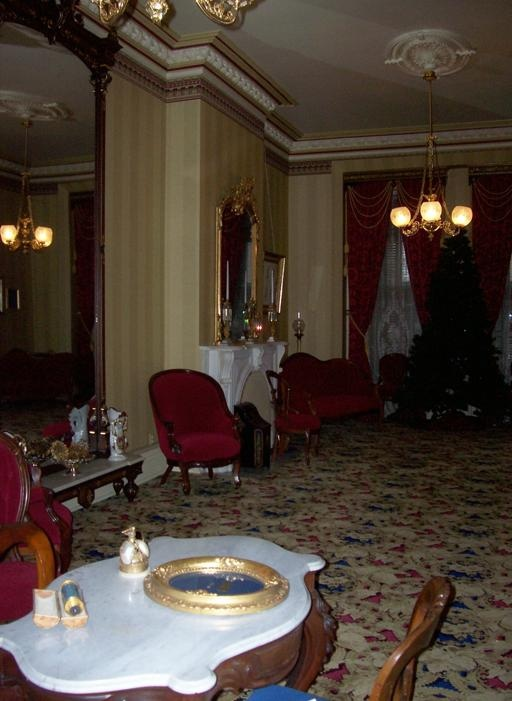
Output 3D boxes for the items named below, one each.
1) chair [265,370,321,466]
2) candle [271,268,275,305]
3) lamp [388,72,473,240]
[{"bbox_3d":[0.466,0.779,6.799,0.914,1.329,0.919,0,3,7],"label":"chair"},{"bbox_3d":[0.261,-0.985,8.478,0.037,0.490,0.153,0,2,17],"label":"candle"},{"bbox_3d":[2.320,-2.394,7.250,0.961,2.082,3.001,1,2,19],"label":"lamp"}]
